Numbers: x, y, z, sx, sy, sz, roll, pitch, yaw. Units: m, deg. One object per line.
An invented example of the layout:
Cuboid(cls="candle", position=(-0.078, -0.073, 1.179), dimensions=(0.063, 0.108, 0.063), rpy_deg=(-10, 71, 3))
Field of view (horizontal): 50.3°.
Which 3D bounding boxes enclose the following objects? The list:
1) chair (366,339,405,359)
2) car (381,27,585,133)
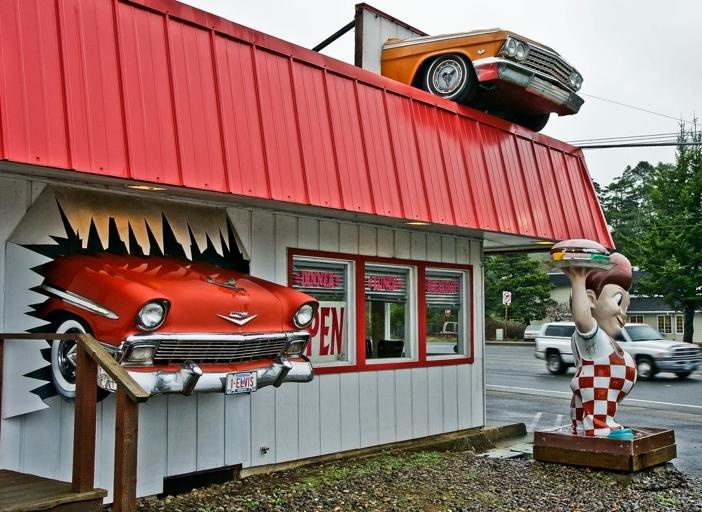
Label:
Cuboid(cls="chair", position=(0.513, 1.401, 11.215), dimensions=(0.642, 0.309, 0.147), rpy_deg=(5, -1, -32))
Cuboid(cls="car", position=(2.328, -3.104, 12.651), dimensions=(4.250, 1.338, 3.049), rpy_deg=(13, 10, 29))
